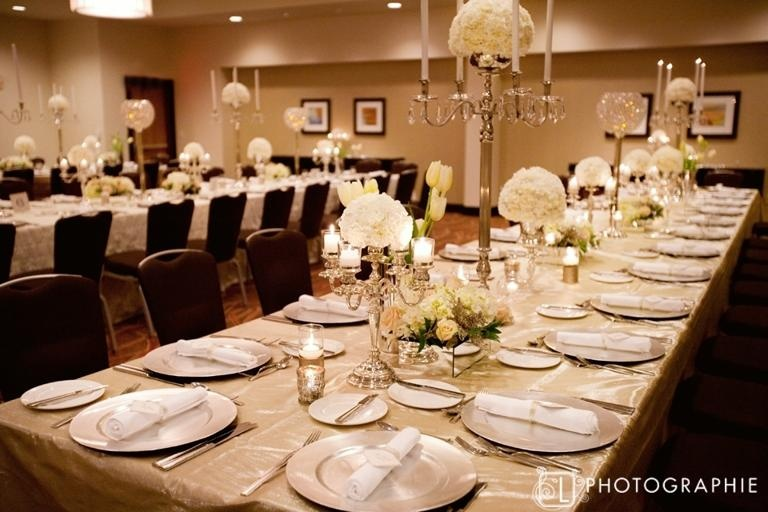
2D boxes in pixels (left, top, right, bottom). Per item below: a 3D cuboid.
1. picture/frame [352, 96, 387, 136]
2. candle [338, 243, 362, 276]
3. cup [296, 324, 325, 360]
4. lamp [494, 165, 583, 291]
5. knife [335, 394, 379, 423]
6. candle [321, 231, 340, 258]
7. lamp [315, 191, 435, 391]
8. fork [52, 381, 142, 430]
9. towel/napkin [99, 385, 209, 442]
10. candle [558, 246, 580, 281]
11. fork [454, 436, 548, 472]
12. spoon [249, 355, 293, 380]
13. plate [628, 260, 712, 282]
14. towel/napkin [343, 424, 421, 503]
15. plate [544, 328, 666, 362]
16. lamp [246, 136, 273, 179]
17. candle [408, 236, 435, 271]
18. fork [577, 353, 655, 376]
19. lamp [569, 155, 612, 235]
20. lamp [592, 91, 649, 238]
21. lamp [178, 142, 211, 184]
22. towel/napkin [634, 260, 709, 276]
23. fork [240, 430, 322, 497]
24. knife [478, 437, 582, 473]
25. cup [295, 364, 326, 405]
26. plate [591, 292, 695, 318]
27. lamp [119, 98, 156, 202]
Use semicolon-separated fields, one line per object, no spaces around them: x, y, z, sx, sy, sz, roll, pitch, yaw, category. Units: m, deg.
-0.309;-2.848;11.316;0.653;0.705;0.054;-1;23;-4;picture/frame
-0.126;0.010;1.989;0.094;0.114;0.096;3;3;-10;candle
-0.260;0.302;1.951;0.114;0.109;0.118;1;9;0;cup
0.759;-0.170;2.808;0.368;0.664;0.362;-10;16;-40;lamp
-0.092;0.504;1.873;0.042;0.028;0.311;14;10;16;knife
-0.201;-0.042;2.124;0.081;0.100;0.084;0;6;-3;candle
-0.034;0.125;2.130;0.458;0.739;0.500;4;6;15;lamp
-0.978;0.508;1.869;0.039;0.042;0.360;21;15;19;fork
-0.721;0.489;1.829;0.126;0.138;0.373;1;9;34;towel/napkin
1.020;0.066;3.017;0.115;0.156;0.118;-1;3;13;candle
0.357;0.580;1.676;0.282;0.043;0.037;2;9;8;fork
-0.440;0.433;2.143;0.050;0.041;0.220;19;18;25;spoon
1.581;0.086;3.050;0.317;0.080;0.189;0;7;19;plate
-0.003;0.584;1.580;0.100;0.110;0.268;10;14;37;towel/napkin
0.924;0.346;2.282;0.416;0.126;0.123;-4;7;45;plate
-1.729;-1.337;7.606;0.314;0.586;0.093;4;23;-4;lamp
0.141;-0.007;2.035;0.121;0.119;0.125;-3;6;-4;candle
0.894;0.418;2.123;0.193;0.031;0.027;10;31;26;fork
1.517;-0.440;4.061;0.216;0.492;0.219;-3;7;-29;lamp
1.752;-0.705;4.164;0.337;0.950;0.337;0;3;-41;lamp
-2.314;-1.111;6.696;0.312;0.490;1.096;-3;12;-20;lamp
1.584;0.065;3.066;0.288;0.051;0.175;0;0;16;towel/napkin
-0.304;0.614;1.623;0.024;0.025;0.220;18;30;24;fork
0.419;0.594;1.651;0.322;0.024;0.088;10;21;27;knife
-0.268;0.444;1.957;0.100;0.121;0.114;-5;-6;25;cup
1.204;0.238;2.578;0.425;0.132;0.105;4;22;12;plate
-2.775;-1.224;6.286;0.326;1.063;0.320;12;19;31;lamp
